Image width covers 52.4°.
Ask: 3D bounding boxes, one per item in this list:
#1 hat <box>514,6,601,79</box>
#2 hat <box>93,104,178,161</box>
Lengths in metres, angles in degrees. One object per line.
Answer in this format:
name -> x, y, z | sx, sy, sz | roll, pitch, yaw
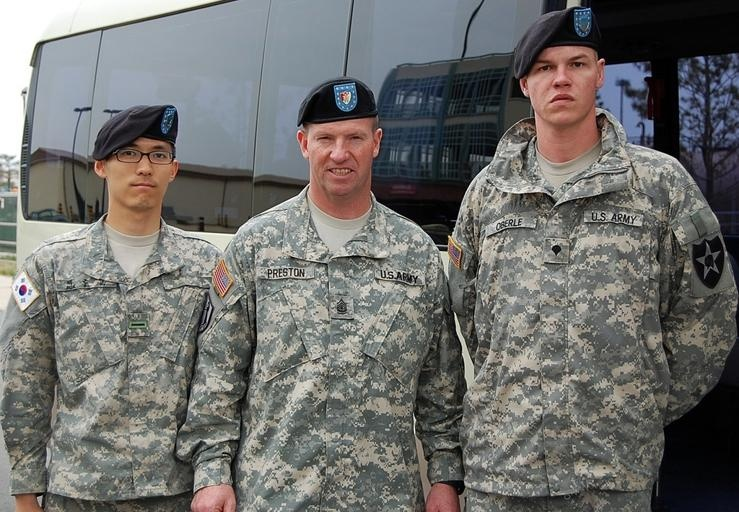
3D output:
hat -> 0.728, -0.862, 2.927 | 0.245, 0.138, 0.294 | -7, -5, -19
hat -> -1.053, -0.519, 3.345 | 0.299, 0.178, 0.241 | -5, -1, 27
